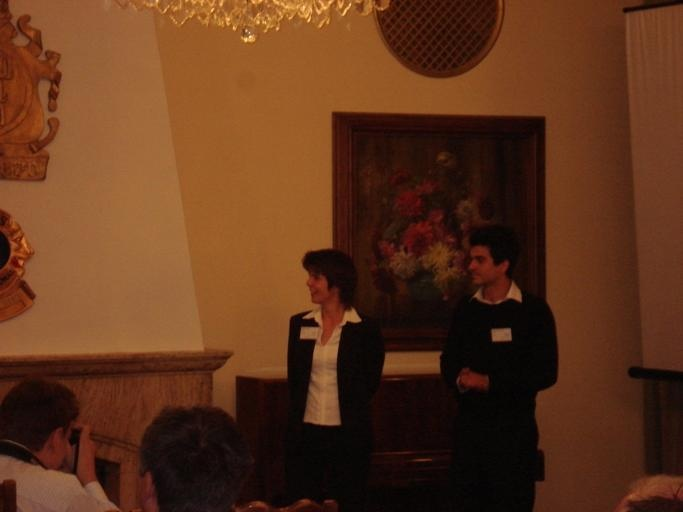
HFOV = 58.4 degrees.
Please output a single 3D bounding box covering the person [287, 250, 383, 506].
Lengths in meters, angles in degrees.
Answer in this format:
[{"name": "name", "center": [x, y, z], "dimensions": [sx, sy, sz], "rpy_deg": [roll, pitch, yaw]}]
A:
[{"name": "person", "center": [-0.047, 0.800, 3.861], "dimensions": [0.613, 1.658, 0.388], "rpy_deg": [2, 2, 1]}]
